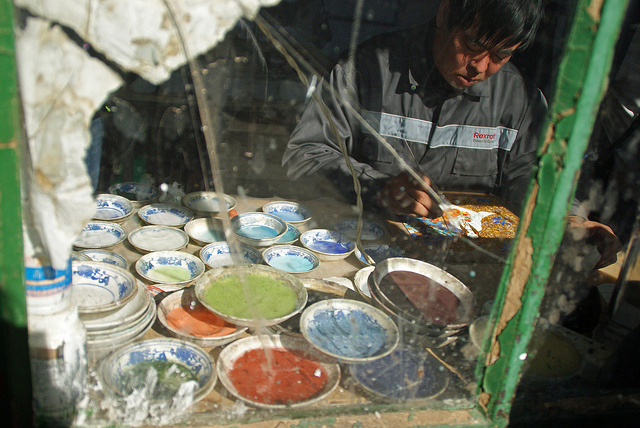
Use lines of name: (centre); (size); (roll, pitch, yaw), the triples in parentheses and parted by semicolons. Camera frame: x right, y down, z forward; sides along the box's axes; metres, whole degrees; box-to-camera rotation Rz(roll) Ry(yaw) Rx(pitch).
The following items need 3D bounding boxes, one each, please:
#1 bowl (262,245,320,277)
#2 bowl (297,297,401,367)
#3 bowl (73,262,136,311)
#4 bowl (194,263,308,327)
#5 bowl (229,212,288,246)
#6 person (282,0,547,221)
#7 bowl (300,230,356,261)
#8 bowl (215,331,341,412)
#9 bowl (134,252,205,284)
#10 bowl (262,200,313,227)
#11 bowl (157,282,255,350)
bowl: (-0.095, 0.158, 1.896); (0.209, 0.056, 0.217); (9, 6, -1)
bowl: (0.082, 0.351, 1.559); (0.294, 0.083, 0.286); (4, 20, -2)
bowl: (-0.657, 0.209, 1.632); (0.145, 0.036, 0.148); (10, 32, -6)
bowl: (-0.215, 0.253, 1.651); (0.308, 0.077, 0.315); (7, 24, -3)
bowl: (-0.229, 0.065, 1.993); (0.203, 0.066, 0.213); (7, 24, -3)
person: (0.583, -0.537, 2.585); (1.403, 0.912, 0.897); (-11, 23, -34)
bowl: (0.028, 0.110, 1.972); (0.126, 0.039, 0.124); (13, 28, -7)
bowl: (-0.120, 0.441, 1.509); (0.217, 0.039, 0.222); (9, 31, -5)
bowl: (-0.493, 0.176, 1.777); (0.129, 0.030, 0.129); (7, 32, -5)
bowl: (-0.149, 0.000, 2.257); (0.205, 0.056, 0.212); (3, -14, 1)
bowl: (-0.355, 0.303, 1.590); (0.185, 0.050, 0.183); (22, 19, -8)
